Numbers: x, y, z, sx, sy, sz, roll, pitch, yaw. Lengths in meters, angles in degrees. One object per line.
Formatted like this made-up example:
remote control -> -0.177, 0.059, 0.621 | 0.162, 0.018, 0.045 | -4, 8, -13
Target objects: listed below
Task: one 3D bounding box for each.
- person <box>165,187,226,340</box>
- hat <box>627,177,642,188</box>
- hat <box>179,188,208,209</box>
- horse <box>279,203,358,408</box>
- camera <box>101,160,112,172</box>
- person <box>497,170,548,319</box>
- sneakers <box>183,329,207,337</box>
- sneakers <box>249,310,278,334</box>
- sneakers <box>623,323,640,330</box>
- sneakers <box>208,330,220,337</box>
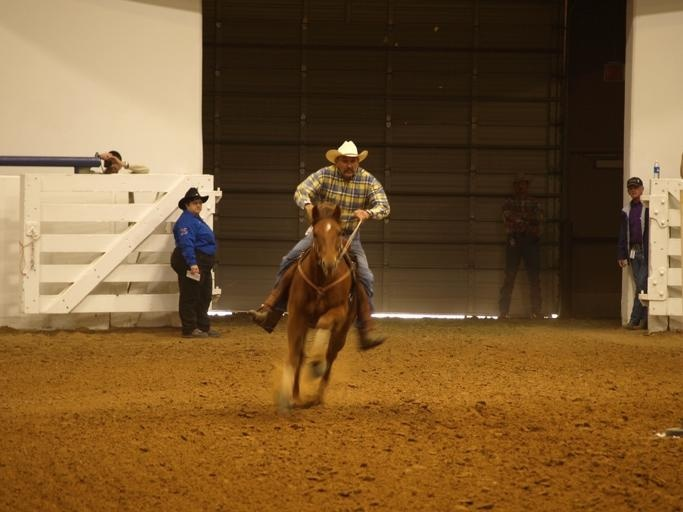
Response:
person -> -2.467, 0.133, 14.479 | 0.632, 2.482, 0.794 | 3, 12, 16
hat -> 5.204, -1.287, 15.381 | 0.260, 0.187, 0.308 | 4, 11, 18
hat -> -2.501, -0.934, 14.452 | 0.364, 0.157, 0.417 | 1, -21, -34
horse -> -0.261, 0.612, 10.199 | 0.850, 2.476, 1.193 | 0, 11, 2
camera -> -3.991, -1.528, 14.882 | 0.059, 0.215, 0.213 | -9, 14, -36
person -> 3.769, -0.146, 18.120 | 0.930, 2.861, 0.915 | 0, 11, 0
sneakers -> -2.406, 1.299, 14.453 | 0.314, 0.116, 0.156 | -6, -8, 22
sneakers -> -0.950, 0.797, 10.858 | 0.344, 0.243, 0.107 | 33, 29, -11
sneakers -> 5.192, 1.271, 15.521 | 0.279, 0.107, 0.097 | 4, -7, 7
sneakers -> -2.158, 1.330, 14.741 | 0.230, 0.069, 0.138 | 0, -1, -41
